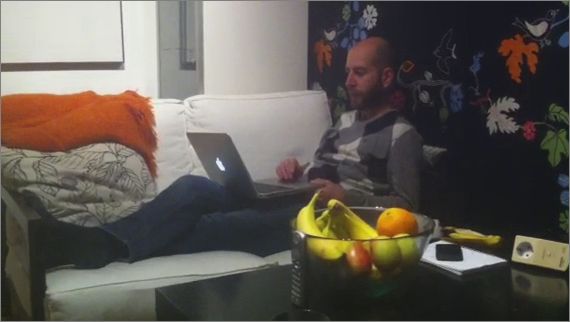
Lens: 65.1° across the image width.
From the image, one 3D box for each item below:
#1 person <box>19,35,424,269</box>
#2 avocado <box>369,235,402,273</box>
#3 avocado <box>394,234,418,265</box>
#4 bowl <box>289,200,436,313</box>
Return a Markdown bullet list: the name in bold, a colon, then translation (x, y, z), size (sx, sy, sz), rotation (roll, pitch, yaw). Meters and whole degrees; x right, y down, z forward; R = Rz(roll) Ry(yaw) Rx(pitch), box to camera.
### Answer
- **person**: translation (-0.289, -0.007, 2.526), size (2.236, 1.222, 1.009), rotation (-5, 14, -6)
- **avocado**: translation (0.353, 0.331, 1.579), size (0.106, 0.097, 0.135), rotation (-2, 5, 6)
- **avocado**: translation (0.433, 0.319, 1.600), size (0.079, 0.090, 0.077), rotation (-17, -8, -30)
- **bowl**: translation (0.292, 0.326, 1.754), size (0.359, 0.428, 0.447), rotation (1, 2, -4)
